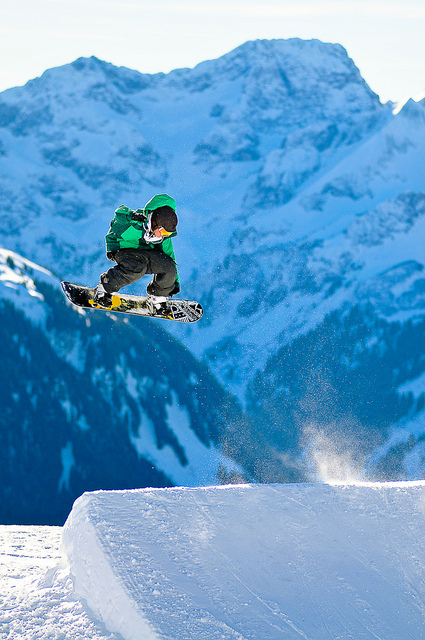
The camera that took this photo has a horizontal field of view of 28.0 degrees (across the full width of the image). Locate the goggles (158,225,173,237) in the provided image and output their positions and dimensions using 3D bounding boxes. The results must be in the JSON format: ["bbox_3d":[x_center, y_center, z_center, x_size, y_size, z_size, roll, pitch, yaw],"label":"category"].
[{"bbox_3d":[-0.651,-1.240,11.853,0.207,0.174,0.067,-9,15,-33],"label":"goggles"}]

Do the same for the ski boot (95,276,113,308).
[{"bbox_3d":[-1.637,-0.410,12.901,0.249,0.458,0.464,-1,47,-9],"label":"ski boot"}]

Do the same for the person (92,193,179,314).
[{"bbox_3d":[-1.095,-0.969,12.530,1.151,1.749,1.370,-2,12,-3],"label":"person"}]

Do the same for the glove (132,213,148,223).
[{"bbox_3d":[-1.006,-1.438,11.988,0.216,0.130,0.100,5,14,28],"label":"glove"}]
